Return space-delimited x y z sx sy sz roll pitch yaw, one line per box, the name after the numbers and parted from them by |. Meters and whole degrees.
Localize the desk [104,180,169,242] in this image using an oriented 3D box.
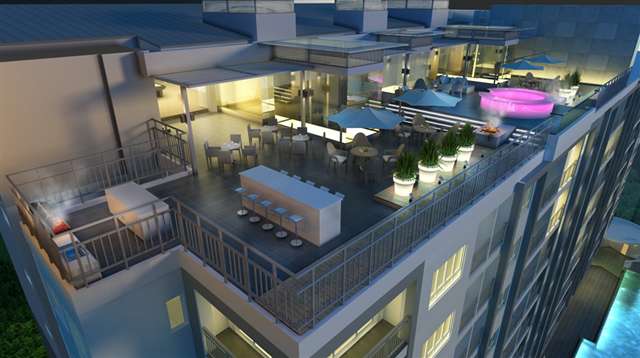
-9.432 1.768 21.498 3.060 1.074 1.181 25 36 35 | desk

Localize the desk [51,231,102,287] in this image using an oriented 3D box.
-11.497 3.888 19.692 1.353 0.673 3.102 -20 41 -37 | desk
